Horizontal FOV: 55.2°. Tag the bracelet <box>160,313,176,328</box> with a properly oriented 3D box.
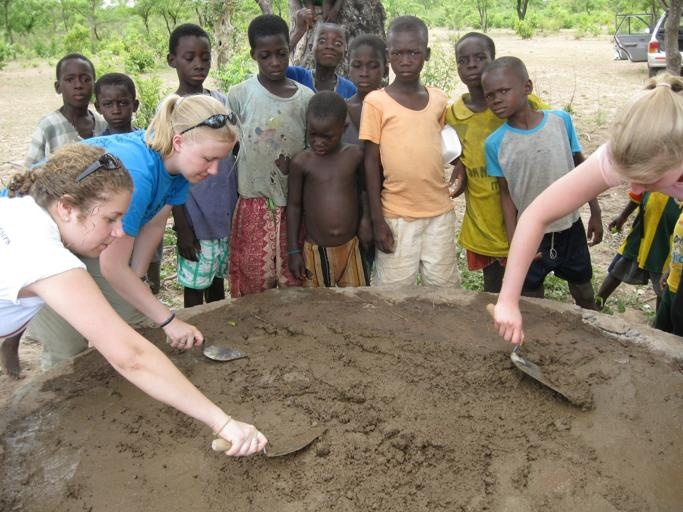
[{"bbox_3d":[-0.849,0.320,3.227,0.020,0.077,0.078,39,-11,-2],"label":"bracelet"}]

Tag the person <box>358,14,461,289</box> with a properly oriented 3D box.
[{"bbox_3d":[0.416,-0.588,4.007,0.601,1.603,0.667,-2,27,2],"label":"person"}]

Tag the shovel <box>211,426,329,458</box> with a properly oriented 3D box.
[{"bbox_3d":[-0.288,0.769,2.854,0.399,0.067,0.199,2,7,-21],"label":"shovel"}]

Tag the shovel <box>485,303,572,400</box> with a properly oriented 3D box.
[{"bbox_3d":[0.911,0.490,3.213,0.255,0.063,0.634,34,7,-22],"label":"shovel"}]
